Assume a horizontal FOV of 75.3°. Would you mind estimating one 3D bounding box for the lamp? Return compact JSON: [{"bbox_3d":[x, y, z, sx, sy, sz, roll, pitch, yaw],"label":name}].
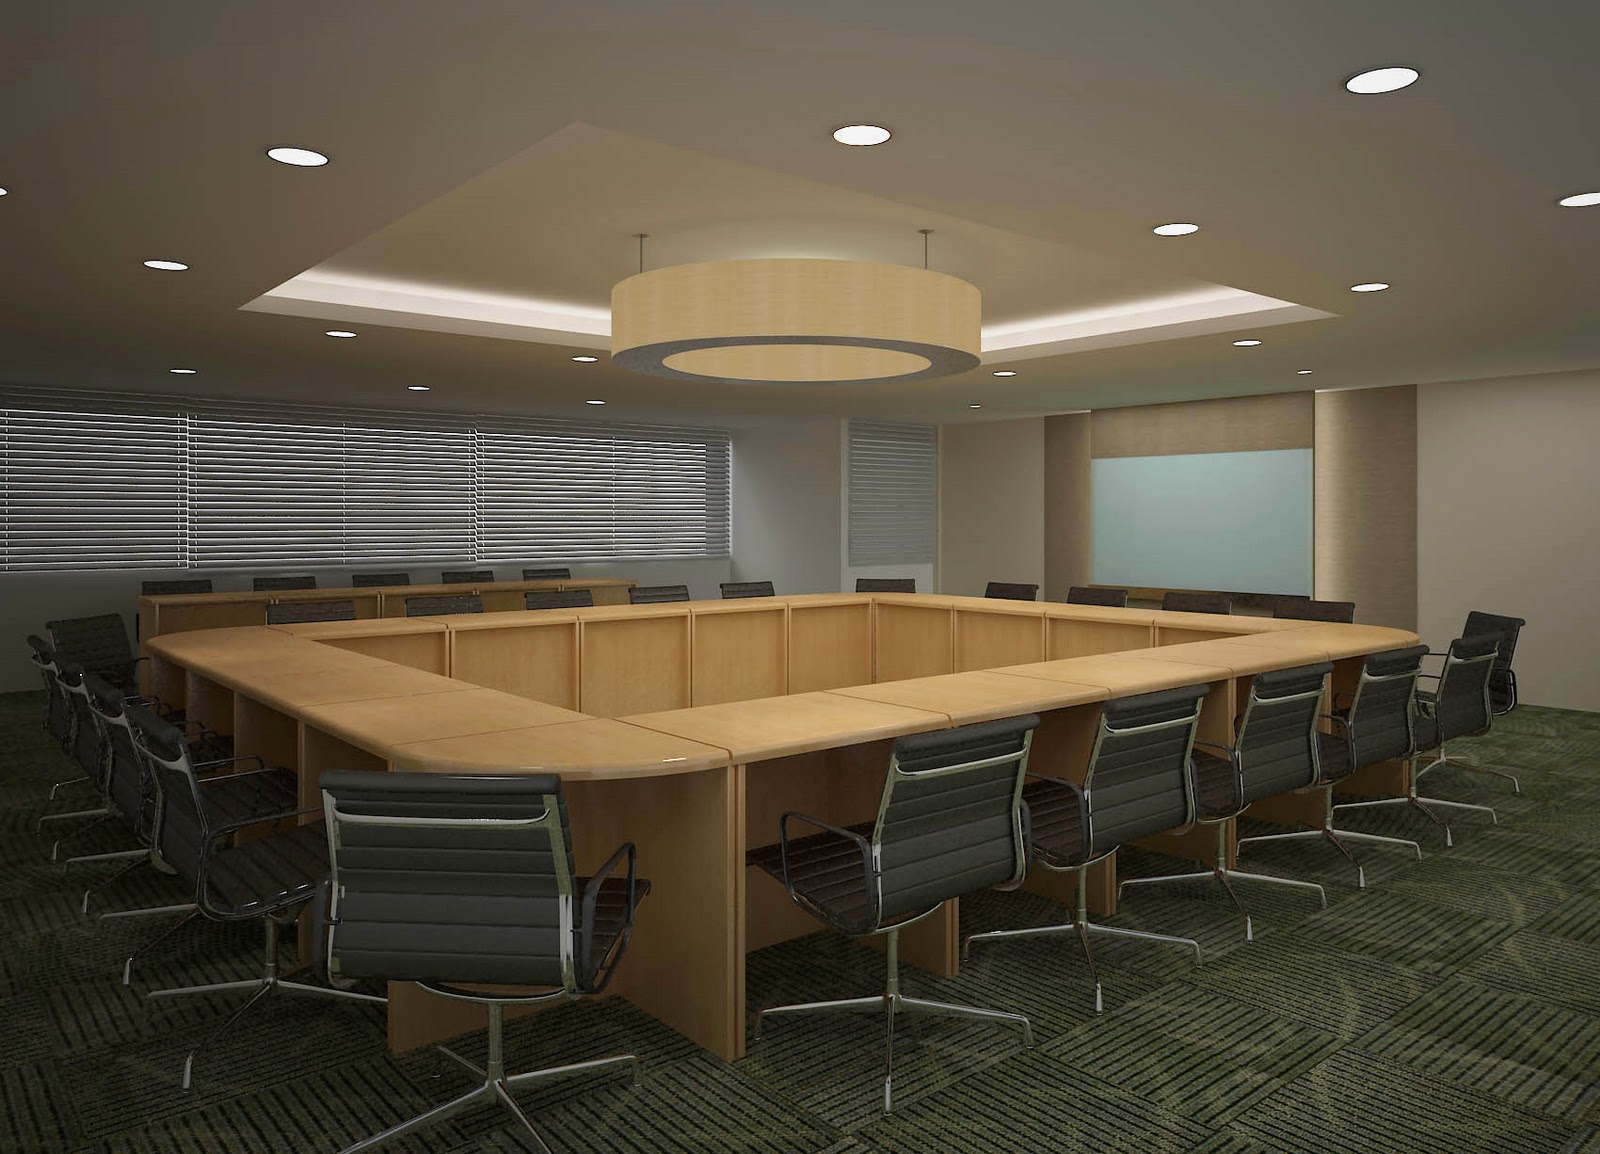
[{"bbox_3d":[-0.009,-1.433,5.720,2.007,0.560,2.029,1,2,43],"label":"lamp"}]
